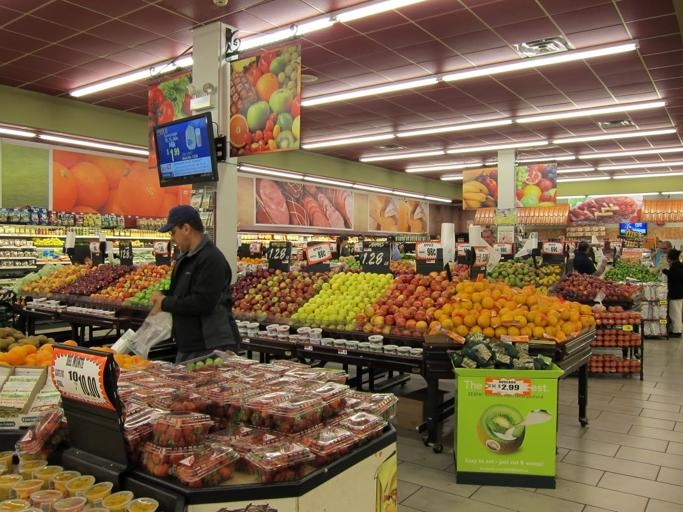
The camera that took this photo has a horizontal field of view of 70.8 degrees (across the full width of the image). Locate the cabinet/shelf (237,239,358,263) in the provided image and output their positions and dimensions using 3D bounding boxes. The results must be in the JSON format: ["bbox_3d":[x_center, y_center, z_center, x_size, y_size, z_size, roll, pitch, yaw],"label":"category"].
[{"bbox_3d":[-0.890,-0.100,9.161,1.357,0.410,3.364,5,3,29],"label":"cabinet/shelf"}]

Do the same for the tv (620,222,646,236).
[{"bbox_3d":[9.674,-0.882,15.890,0.765,0.421,1.336,6,5,33],"label":"tv"}]

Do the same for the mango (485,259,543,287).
[{"bbox_3d":[2.449,0.265,6.786,0.505,0.139,0.483,-10,12,-42],"label":"mango"}]

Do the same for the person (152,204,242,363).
[{"bbox_3d":[-1.078,0.247,3.567,0.819,1.573,0.345,0,-1,33],"label":"person"}]
